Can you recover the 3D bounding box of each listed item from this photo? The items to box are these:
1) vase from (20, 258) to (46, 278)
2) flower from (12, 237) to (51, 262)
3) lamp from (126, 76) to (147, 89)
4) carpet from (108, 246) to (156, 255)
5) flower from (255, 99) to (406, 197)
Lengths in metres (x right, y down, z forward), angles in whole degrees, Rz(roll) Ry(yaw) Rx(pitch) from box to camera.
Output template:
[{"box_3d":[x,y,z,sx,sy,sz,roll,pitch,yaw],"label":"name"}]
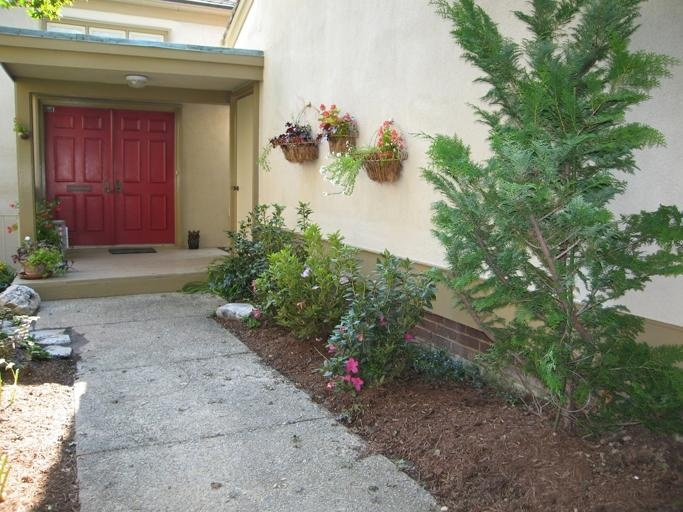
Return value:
[{"box_3d":[-4.010,0.164,5.783,0.345,0.250,0.112,4,10,16],"label":"vase"},{"box_3d":[-4.154,-0.084,6.060,0.444,0.334,0.587,3,-1,-1],"label":"flower"},{"box_3d":[-3.005,-2.595,6.552,0.278,0.131,0.417,-3,11,-22],"label":"lamp"},{"box_3d":[-3.955,-0.111,8.430,0.755,0.027,1.161,-5,12,-35],"label":"carpet"},{"box_3d":[-0.033,-1.230,4.930,0.889,0.818,1.771,-11,21,-34],"label":"flower"}]
